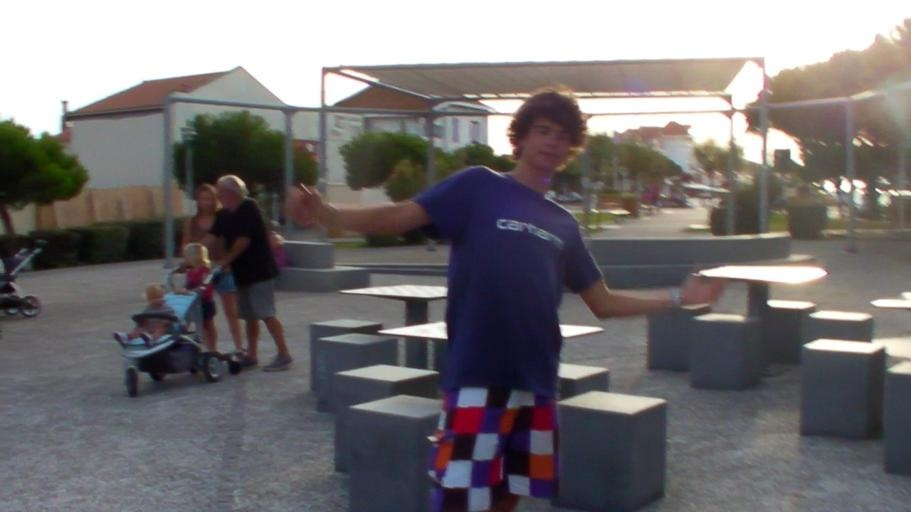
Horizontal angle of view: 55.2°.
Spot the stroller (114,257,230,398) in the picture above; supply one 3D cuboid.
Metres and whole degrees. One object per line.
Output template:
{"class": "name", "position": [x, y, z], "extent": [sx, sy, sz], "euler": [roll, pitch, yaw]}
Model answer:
{"class": "stroller", "position": [-4.213, 1.072, 12.953], "extent": [1.213, 1.579, 1.869], "euler": [0, 6, 28]}

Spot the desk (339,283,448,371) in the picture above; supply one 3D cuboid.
{"class": "desk", "position": [-0.737, 0.898, 12.940], "extent": [1.270, 1.263, 1.291], "euler": [6, 11, 40]}

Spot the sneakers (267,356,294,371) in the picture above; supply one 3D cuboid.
{"class": "sneakers", "position": [-2.661, 1.648, 13.238], "extent": [0.372, 0.155, 0.178], "euler": [0, -2, -7]}

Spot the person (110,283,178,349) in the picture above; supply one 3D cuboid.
{"class": "person", "position": [-4.469, 0.864, 12.619], "extent": [0.762, 0.835, 0.498], "euler": [-2, 5, -21]}
